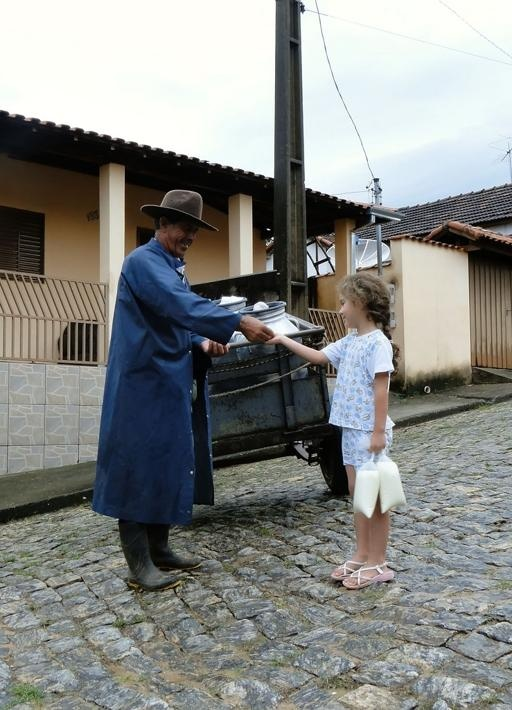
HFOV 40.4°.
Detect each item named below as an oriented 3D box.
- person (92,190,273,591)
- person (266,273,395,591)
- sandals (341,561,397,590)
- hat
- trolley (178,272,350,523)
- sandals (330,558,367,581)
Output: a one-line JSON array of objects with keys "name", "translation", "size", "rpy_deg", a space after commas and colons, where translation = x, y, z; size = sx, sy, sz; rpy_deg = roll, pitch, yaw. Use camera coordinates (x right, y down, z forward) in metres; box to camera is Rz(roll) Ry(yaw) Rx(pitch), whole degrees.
[{"name": "person", "translation": [-0.415, 0.131, 3.381], "size": [0.758, 1.824, 0.555], "rpy_deg": [-6, -1, -38]}, {"name": "person", "translation": [0.506, 0.324, 3.382], "size": [0.404, 1.465, 0.598], "rpy_deg": [-6, -1, 11]}, {"name": "sandals", "translation": [0.502, 0.993, 3.122], "size": [0.219, 0.078, 0.097], "rpy_deg": [-1, -4, -7]}, {"name": "hat", "translation": [-0.378, -0.764, 3.522], "size": [0.318, 0.108, 0.260], "rpy_deg": [15, -6, -23]}, {"name": "trolley", "translation": [0.277, 0.555, 5.344], "size": [1.119, 1.006, 1.695], "rpy_deg": [-7, -12, 17]}, {"name": "sandals", "translation": [0.418, 0.998, 3.238], "size": [0.194, 0.066, 0.067], "rpy_deg": [1, -3, -37]}]
